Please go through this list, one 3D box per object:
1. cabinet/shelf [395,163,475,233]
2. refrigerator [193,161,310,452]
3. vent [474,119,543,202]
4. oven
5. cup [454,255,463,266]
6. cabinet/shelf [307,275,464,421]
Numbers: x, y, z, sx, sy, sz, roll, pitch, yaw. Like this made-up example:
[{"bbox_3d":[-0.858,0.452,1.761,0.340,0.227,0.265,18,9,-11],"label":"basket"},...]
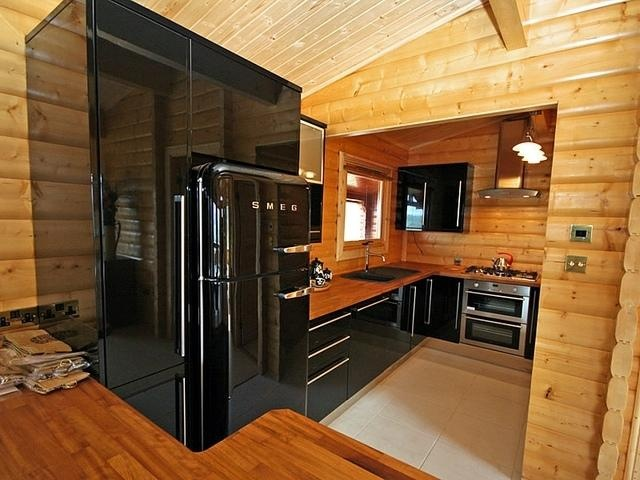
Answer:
[{"bbox_3d":[1.382,-0.498,5.519,1.041,0.780,0.412,3,3,44],"label":"cabinet/shelf"},{"bbox_3d":[-0.439,0.384,2.850,0.417,1.689,0.979,18,20,38],"label":"refrigerator"},{"bbox_3d":[2.088,-0.890,5.024,0.652,0.804,0.803,2,2,-40],"label":"vent"},{"bbox_3d":[2.051,0.801,5.037,0.724,0.718,0.820,3,1,-29],"label":"oven"},{"bbox_3d":[1.671,0.255,5.682,0.121,0.145,0.132,1,-2,0],"label":"cup"},{"bbox_3d":[0.546,0.947,4.071,0.489,0.384,1.440,3,6,33],"label":"cabinet/shelf"}]
